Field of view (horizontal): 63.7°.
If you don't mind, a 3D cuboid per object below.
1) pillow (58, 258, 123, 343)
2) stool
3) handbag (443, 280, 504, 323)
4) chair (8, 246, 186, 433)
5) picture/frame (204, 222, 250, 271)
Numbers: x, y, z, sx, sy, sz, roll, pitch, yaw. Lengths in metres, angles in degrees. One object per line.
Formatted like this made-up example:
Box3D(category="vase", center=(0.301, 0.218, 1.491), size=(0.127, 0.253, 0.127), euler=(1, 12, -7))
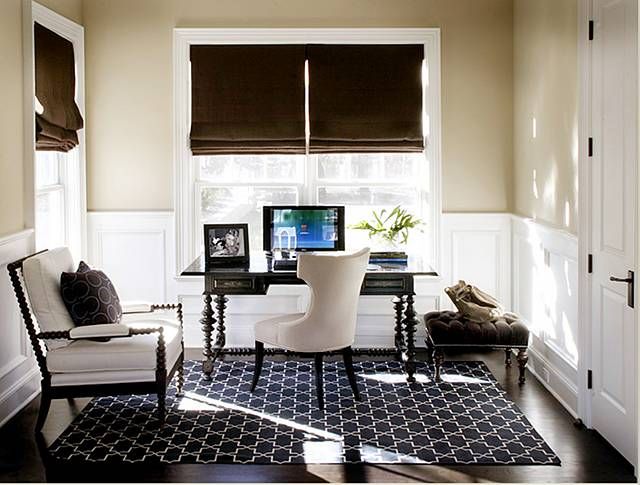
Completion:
Box3D(category="pillow", center=(-1.493, 0.345, 3.538), size=(0.373, 0.566, 0.654), euler=(-1, 6, 1))
Box3D(category="stool", center=(1.312, 0.865, 4.376), size=(0.972, 0.482, 1.029), euler=(1, -1, 36))
Box3D(category="handbag", center=(1.302, 0.495, 4.280), size=(0.363, 0.131, 0.287), euler=(11, 9, -44))
Box3D(category="chair", center=(-1.435, 0.559, 3.880), size=(1.254, 1.329, 0.951), euler=(0, 2, -9))
Box3D(category="picture/frame", center=(-0.773, 0.046, 4.266), size=(0.359, 0.356, 0.026), euler=(1, -9, -6))
